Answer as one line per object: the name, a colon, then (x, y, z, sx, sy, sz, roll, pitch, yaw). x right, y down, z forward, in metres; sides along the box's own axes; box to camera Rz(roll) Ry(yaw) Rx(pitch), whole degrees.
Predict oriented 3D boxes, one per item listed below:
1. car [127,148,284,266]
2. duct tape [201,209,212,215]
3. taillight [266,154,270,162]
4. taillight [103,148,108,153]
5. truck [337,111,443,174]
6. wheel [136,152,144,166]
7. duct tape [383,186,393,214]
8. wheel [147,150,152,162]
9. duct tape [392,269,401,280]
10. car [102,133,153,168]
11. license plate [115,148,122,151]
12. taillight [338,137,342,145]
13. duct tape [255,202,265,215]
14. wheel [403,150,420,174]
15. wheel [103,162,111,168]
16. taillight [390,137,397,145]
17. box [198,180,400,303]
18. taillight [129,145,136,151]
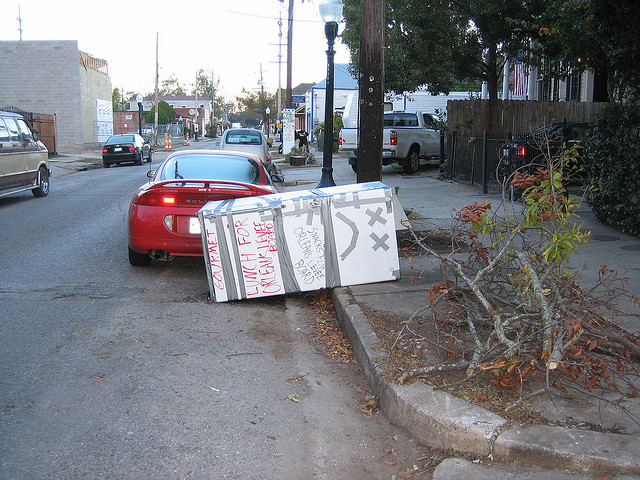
car: (-2.142, -0.653, 8.292, 1.414, 0.971, 2.751, 0, 14, -2)
duct tape: (-1.348, -0.329, 5.814, 0.086, 0.042, 0.131, -8, 15, -38)
taillight: (-1.963, -3.085, 18.382, 0.069, 0.213, 0.139, 0, -7, 35)
taillight: (-12.393, -5.120, 27.893, 0.174, 0.252, 0.509, -8, 15, -41)
truck: (2.798, -3.898, 20.464, 2.658, 2.390, 5.869, 6, 17, 36)
wheel: (-10.841, -4.850, 29.149, 0.259, 0.903, 0.844, -3, -2, 1)
duct tape: (0.837, -0.487, 5.892, 0.056, 0.238, 0.216, -5, 4, 24)
wheel: (-11.400, -5.560, 32.352, 0.253, 0.866, 0.820, -3, -28, -7)
duct tape: (0.983, 0.454, 6.204, 0.107, 0.112, 0.026, 0, 1, -33)
car: (-11.483, -5.482, 29.717, 1.639, 1.359, 3.887, -1, 14, -1)
license plate: (-11.626, -5.170, 27.889, 0.229, 0.180, 0.057, -3, 4, -11)
taillight: (0.888, -4.200, 20.721, 0.060, 0.287, 0.352, -1, 11, -13)
duct tape: (-0.720, -0.371, 5.865, 0.078, 0.116, 0.158, -1, 12, -14)
wheel: (3.844, -3.290, 20.489, 0.266, 0.907, 0.840, 6, 16, 38)
wheel: (-12.396, -4.337, 28.289, 0.372, 0.262, 0.623, -4, 13, -26)
taillight: (2.930, -3.918, 19.550, 0.371, 0.410, 0.213, -1, 9, 1)
box: (-0.211, -0.187, 6.517, 2.349, 1.239, 1.476, -6, 23, 1)
taillight: (-10.922, -5.329, 28.232, 0.292, 0.237, 0.493, 0, 8, -16)
